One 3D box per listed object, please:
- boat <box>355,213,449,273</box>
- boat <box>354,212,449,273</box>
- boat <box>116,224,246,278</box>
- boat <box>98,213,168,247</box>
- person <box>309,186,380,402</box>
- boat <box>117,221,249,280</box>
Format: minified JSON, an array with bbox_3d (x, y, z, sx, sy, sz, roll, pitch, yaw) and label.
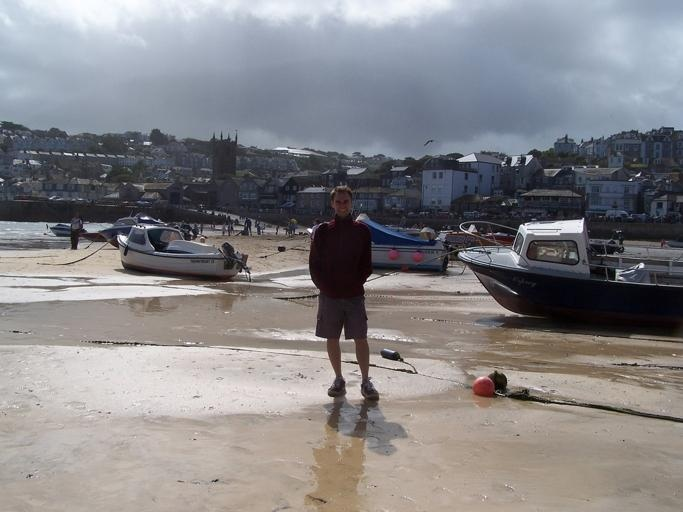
[{"bbox_3d":[2.113,-0.393,26.875,5.042,1.579,1.798,2,13,34],"label":"boat"},{"bbox_3d":[1.937,-0.556,27.067,5.509,1.891,2.061,3,16,33],"label":"boat"},{"bbox_3d":[-4.974,-0.088,19.895,4.326,1.032,1.573,8,5,32],"label":"boat"},{"bbox_3d":[-11.711,-1.543,37.840,5.214,1.488,1.653,2,5,-21],"label":"boat"},{"bbox_3d":[0.062,0.354,6.909,0.817,2.108,0.509,4,6,0],"label":"person"},{"bbox_3d":[-4.984,-0.128,19.893,4.479,1.041,1.624,7,4,32],"label":"boat"}]
